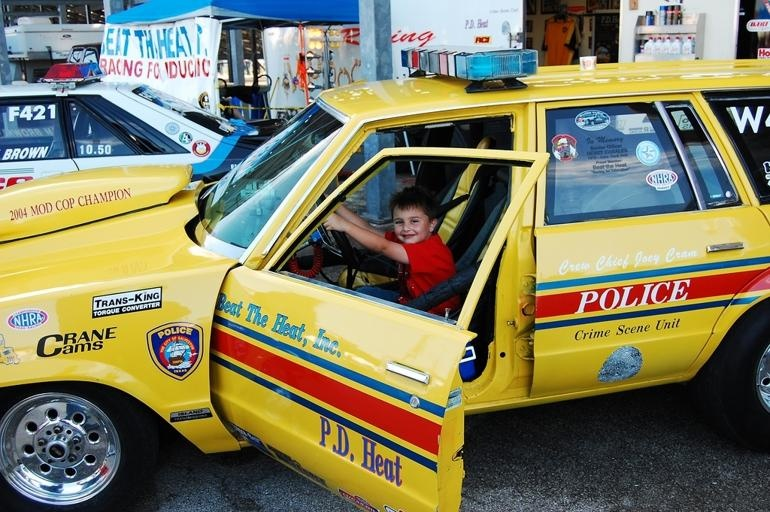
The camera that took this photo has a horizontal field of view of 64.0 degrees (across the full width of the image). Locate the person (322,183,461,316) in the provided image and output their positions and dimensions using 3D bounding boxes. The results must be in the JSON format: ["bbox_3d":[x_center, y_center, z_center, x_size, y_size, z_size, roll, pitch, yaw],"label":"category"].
[{"bbox_3d":[0.045,0.006,4.079,0.947,0.862,0.699,6,16,11],"label":"person"}]
